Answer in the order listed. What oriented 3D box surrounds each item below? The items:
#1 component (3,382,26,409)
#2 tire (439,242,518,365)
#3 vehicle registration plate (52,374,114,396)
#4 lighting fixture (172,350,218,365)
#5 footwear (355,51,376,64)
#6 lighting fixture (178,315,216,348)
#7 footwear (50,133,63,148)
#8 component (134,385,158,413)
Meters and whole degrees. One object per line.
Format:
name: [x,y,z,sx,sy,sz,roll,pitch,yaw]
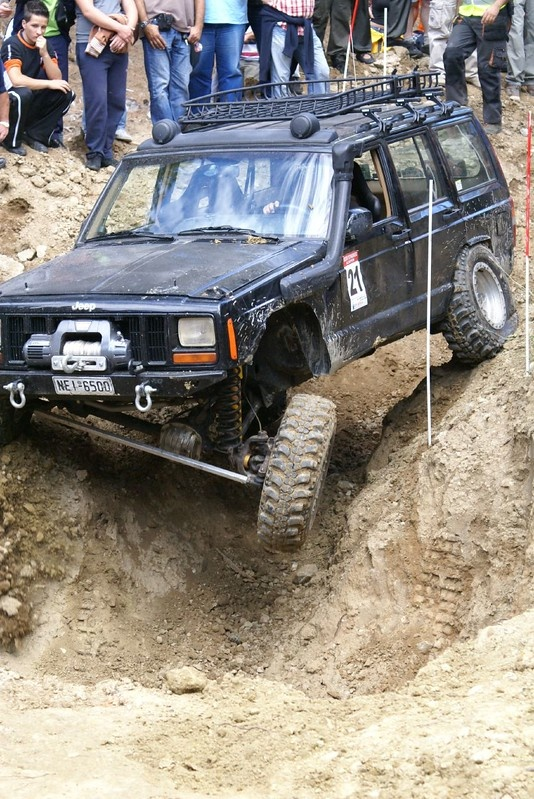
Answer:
component: [-1.300,-0.033,4.471,0.129,0.176,0.097,-4,-3,34]
tire: [1.633,-0.727,6.630,0.301,0.900,0.815,-13,28,26]
vehicle registration plate: [-0.891,-0.074,4.212,0.332,0.114,0.067,-6,-6,22]
lighting fixture: [-0.340,-0.201,4.116,0.217,0.068,0.034,-4,-5,8]
footwear: [1.513,-5.233,13.175,0.145,0.183,0.430,-16,27,-14]
lighting fixture: [-0.333,-0.321,4.089,0.182,0.143,0.074,-4,-5,4]
footwear: [-2.285,-2.837,9.406,0.103,0.141,0.183,-17,46,-2]
component: [-0.582,-0.017,4.191,0.119,0.125,0.037,10,13,36]
